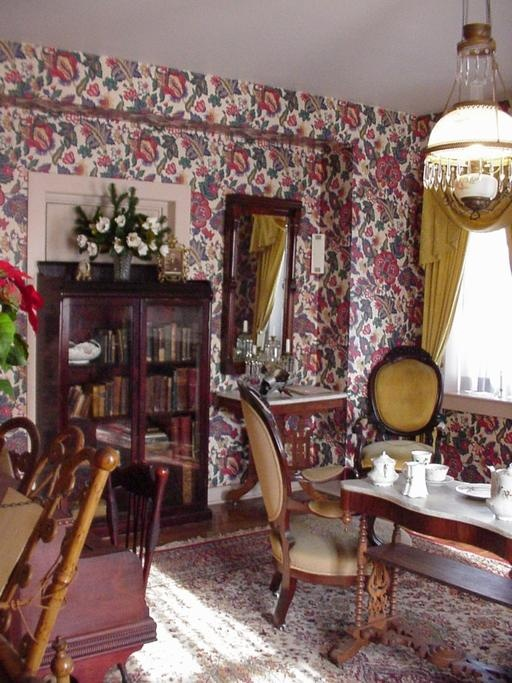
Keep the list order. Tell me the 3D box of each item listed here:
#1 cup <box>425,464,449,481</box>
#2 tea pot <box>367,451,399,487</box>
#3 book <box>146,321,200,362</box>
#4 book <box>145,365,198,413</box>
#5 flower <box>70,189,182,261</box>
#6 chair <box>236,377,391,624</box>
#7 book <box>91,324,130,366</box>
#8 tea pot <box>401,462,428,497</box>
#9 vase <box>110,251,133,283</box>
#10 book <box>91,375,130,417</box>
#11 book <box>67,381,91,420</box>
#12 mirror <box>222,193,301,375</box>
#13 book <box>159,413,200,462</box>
[{"bbox_3d":[0.795,0.570,2.404,0.062,0.045,0.092,-1,-4,-12],"label":"cup"},{"bbox_3d":[0.540,0.548,2.400,0.134,0.163,0.152,0,-4,23],"label":"tea pot"},{"bbox_3d":[-0.570,-0.017,3.647,0.316,0.244,0.324,-1,8,-27],"label":"book"},{"bbox_3d":[-0.621,0.312,3.692,0.292,0.397,0.289,1,-1,-31],"label":"book"},{"bbox_3d":[-0.844,-0.697,3.572,0.550,0.409,0.549,-1,4,-30],"label":"flower"},{"bbox_3d":[0.294,0.603,2.959,0.898,1.361,0.995,-1,4,-10],"label":"chair"},{"bbox_3d":[-0.889,0.022,3.364,0.261,0.241,0.040,2,0,-45],"label":"book"},{"bbox_3d":[0.629,0.541,2.169,0.107,0.128,0.126,-3,-5,41],"label":"tea pot"},{"bbox_3d":[-0.846,-0.471,3.447,0.103,0.188,0.161,2,0,-9],"label":"vase"},{"bbox_3d":[-0.889,0.339,3.423,0.212,0.293,0.301,1,0,-6],"label":"book"},{"bbox_3d":[-1.053,0.359,3.258,0.040,0.201,0.131,2,0,37],"label":"book"},{"bbox_3d":[0.046,-0.445,4.338,0.691,1.426,0.174,2,0,-33],"label":"mirror"},{"bbox_3d":[-0.498,0.634,3.767,0.278,0.379,0.275,-2,0,-33],"label":"book"}]
